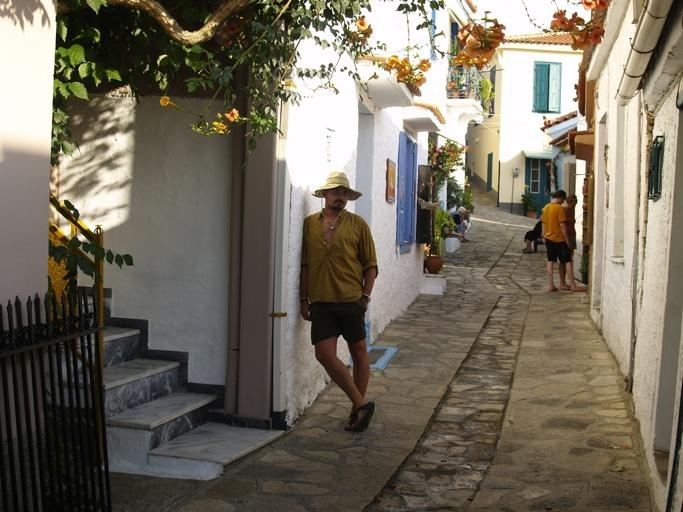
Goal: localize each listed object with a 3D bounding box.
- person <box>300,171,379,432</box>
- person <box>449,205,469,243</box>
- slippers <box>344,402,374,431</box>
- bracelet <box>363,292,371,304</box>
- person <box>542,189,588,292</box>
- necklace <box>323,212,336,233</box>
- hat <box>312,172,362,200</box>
[{"bbox_3d":[-0.004,0.418,5.929,0.659,2.403,0.521,-1,7,3],"label":"person"},{"bbox_3d":[3.983,-1.098,21.041,0.464,1.115,0.602,-3,8,-38],"label":"person"},{"bbox_3d":[0.178,1.510,5.854,0.121,0.177,0.349,6,-33,-8],"label":"slippers"},{"bbox_3d":[0.225,0.407,6.010,0.096,0.090,0.080,-1,3,19],"label":"bracelet"},{"bbox_3d":[4.313,-0.340,12.424,0.557,1.992,0.777,-11,11,-37],"label":"person"},{"bbox_3d":[-0.120,-0.328,5.962,0.111,0.162,0.066,-4,-7,13],"label":"necklace"},{"bbox_3d":[-0.076,-0.713,6.324,0.389,0.228,0.471,6,-22,0],"label":"hat"}]
